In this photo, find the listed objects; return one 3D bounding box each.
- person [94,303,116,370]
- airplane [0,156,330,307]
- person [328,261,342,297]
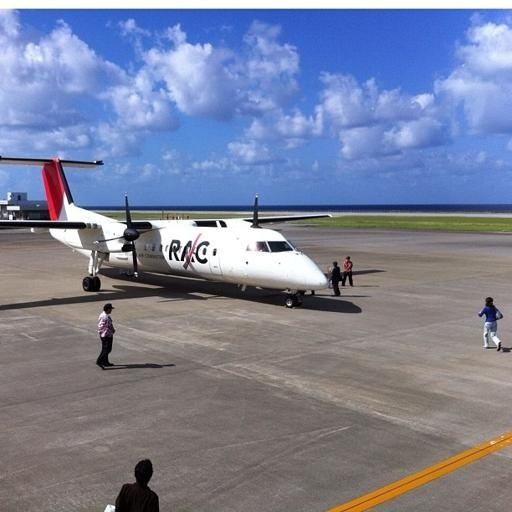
[{"bbox_3d":[-3.928,1.978,11.625,0.515,1.542,1.237,-6,5,-20],"label":"person"},{"bbox_3d":[-4.027,-1.663,22.454,16.085,7.511,5.839,-1,5,21],"label":"airplane"},{"bbox_3d":[3.770,1.084,21.619,0.515,1.670,0.901,-3,5,8],"label":"person"}]
